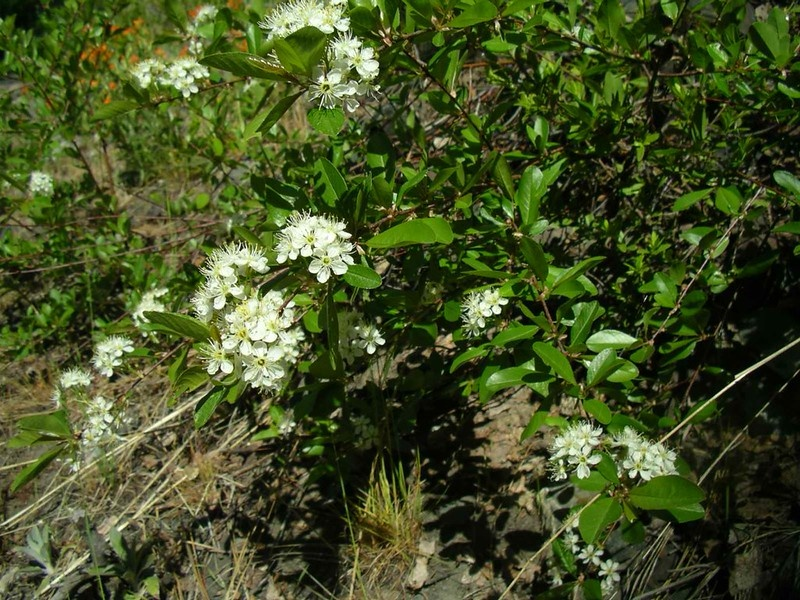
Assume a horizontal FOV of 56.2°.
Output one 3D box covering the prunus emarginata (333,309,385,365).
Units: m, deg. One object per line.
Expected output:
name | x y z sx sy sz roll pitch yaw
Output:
prunus emarginata | -0.217 0.175 3.935 0.224 0.357 0.256 2 -41 -7

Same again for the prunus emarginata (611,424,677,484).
prunus emarginata | 1.075 0.689 3.278 0.222 0.243 0.090 0 -47 -6

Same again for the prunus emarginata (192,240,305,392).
prunus emarginata | -0.658 0.052 3.359 0.527 0.746 0.446 16 -44 -22
